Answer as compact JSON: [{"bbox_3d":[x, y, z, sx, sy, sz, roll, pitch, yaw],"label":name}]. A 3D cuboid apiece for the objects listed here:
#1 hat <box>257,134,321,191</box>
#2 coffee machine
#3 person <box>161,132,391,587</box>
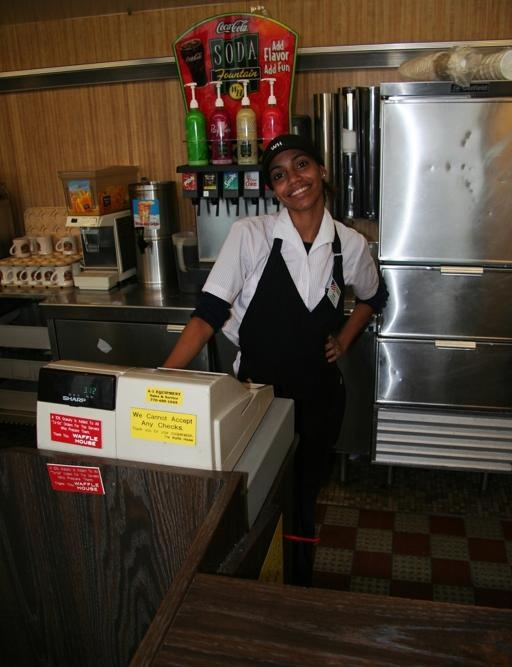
[{"bbox_3d":[0.108,-0.589,1.671,0.160,0.107,0.213,-10,-11,11],"label":"hat"},{"bbox_3d":[-0.889,-0.622,2.971,0.397,0.736,0.409,-4,7,-13],"label":"coffee machine"},{"bbox_3d":[0.114,0.110,1.727,0.437,1.464,0.936,1,8,23],"label":"person"}]
